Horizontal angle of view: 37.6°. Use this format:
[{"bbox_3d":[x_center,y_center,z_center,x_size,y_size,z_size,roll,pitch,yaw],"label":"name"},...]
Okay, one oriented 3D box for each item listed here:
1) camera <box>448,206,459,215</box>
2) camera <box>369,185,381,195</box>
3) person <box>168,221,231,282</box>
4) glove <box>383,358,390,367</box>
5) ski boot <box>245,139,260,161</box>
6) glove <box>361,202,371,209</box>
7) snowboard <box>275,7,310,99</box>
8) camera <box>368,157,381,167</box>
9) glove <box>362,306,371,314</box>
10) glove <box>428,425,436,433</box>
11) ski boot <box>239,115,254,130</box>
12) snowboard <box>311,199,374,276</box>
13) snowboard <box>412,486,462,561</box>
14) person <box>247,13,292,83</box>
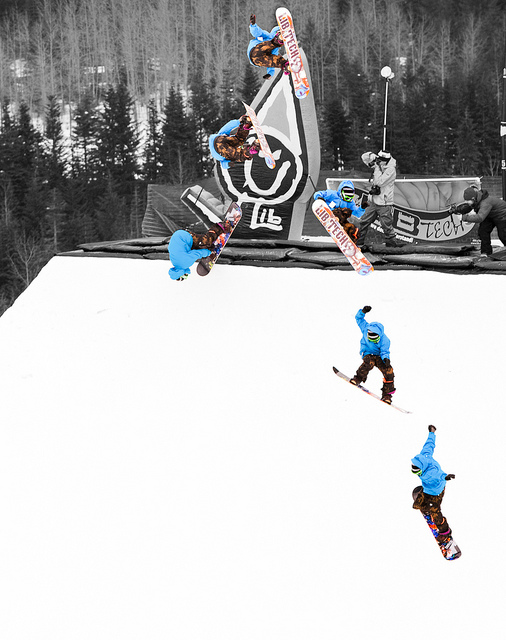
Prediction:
[{"bbox_3d":[2.313,-1.275,8.617,0.146,0.058,0.200,3,13,14],"label":"camera"},{"bbox_3d":[1.546,-1.661,9.433,0.142,0.126,0.089,2,17,7],"label":"camera"},{"bbox_3d":[-0.614,-0.738,8.124,0.274,0.582,0.787,9,19,28],"label":"person"},{"bbox_3d":[1.141,0.357,6.347,0.040,0.056,0.021,-6,-7,-30],"label":"glove"},{"bbox_3d":[-0.016,-2.064,8.906,0.175,0.255,0.105,-1,18,-18],"label":"ski boot"},{"bbox_3d":[1.515,-1.547,10.003,0.119,0.081,0.047,1,1,45],"label":"glove"},{"bbox_3d":[0.441,-2.865,7.961,0.267,1.093,0.165,-16,15,-12],"label":"snowboard"},{"bbox_3d":[1.572,-2.063,9.606,0.156,0.071,0.205,3,-10,-38],"label":"camera"},{"bbox_3d":[1.016,-0.101,6.654,0.064,0.049,0.060,33,-27,1],"label":"glove"},{"bbox_3d":[1.200,0.731,4.990,0.035,0.058,0.018,-3,-22,-2],"label":"glove"},{"bbox_3d":[-0.083,-2.295,8.482,0.153,0.178,0.070,-15,-8,-21],"label":"ski boot"},{"bbox_3d":[0.942,-0.861,7.930,0.662,0.865,0.374,-1,17,-3],"label":"snowboard"},{"bbox_3d":[1.180,1.304,4.754,0.148,0.380,0.365,-13,21,-35],"label":"snowboard"},{"bbox_3d":[0.162,-3.163,8.735,0.522,0.686,0.917,7,51,-1],"label":"person"}]
